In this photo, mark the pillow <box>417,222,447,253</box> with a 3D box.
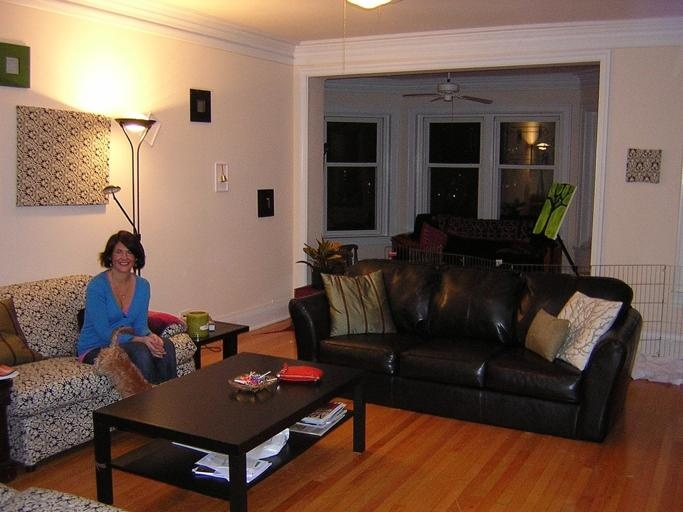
[{"bbox_3d":[1.362,-0.241,8.067,0.402,0.441,0.792,3,14,12],"label":"pillow"}]

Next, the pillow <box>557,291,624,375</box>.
[{"bbox_3d":[1.662,0.506,3.767,0.378,0.425,0.384,-10,17,-36],"label":"pillow"}]

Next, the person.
[{"bbox_3d":[-1.484,0.456,3.860,0.730,1.193,0.461,8,8,28],"label":"person"}]

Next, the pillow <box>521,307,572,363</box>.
[{"bbox_3d":[1.464,0.567,3.844,0.136,0.245,0.350,34,-7,-9],"label":"pillow"}]

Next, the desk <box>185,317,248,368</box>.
[{"bbox_3d":[-1.056,0.675,4.459,0.391,0.410,0.401,10,14,36],"label":"desk"}]

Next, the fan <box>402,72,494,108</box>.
[{"bbox_3d":[1.490,-2.474,7.920,1.449,0.465,2.322,3,14,14],"label":"fan"}]

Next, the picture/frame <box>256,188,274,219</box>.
[{"bbox_3d":[-0.886,-0.620,6.288,0.067,0.350,0.339,1,4,31],"label":"picture/frame"}]

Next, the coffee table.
[{"bbox_3d":[-0.707,0.829,2.900,0.770,0.424,1.173,3,7,27],"label":"coffee table"}]

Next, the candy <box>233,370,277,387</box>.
[{"bbox_3d":[-0.527,0.731,3.213,0.141,0.047,0.111,3,2,18],"label":"candy"}]

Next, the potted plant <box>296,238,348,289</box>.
[{"bbox_3d":[-0.218,0.045,6.364,0.589,0.616,0.604,3,4,28],"label":"potted plant"}]

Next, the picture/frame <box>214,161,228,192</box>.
[{"bbox_3d":[-1.275,-0.848,5.743,0.026,0.358,0.315,0,4,25],"label":"picture/frame"}]

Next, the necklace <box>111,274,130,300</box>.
[{"bbox_3d":[-1.569,0.219,3.851,0.130,0.179,0.043,-2,-1,-21],"label":"necklace"}]
